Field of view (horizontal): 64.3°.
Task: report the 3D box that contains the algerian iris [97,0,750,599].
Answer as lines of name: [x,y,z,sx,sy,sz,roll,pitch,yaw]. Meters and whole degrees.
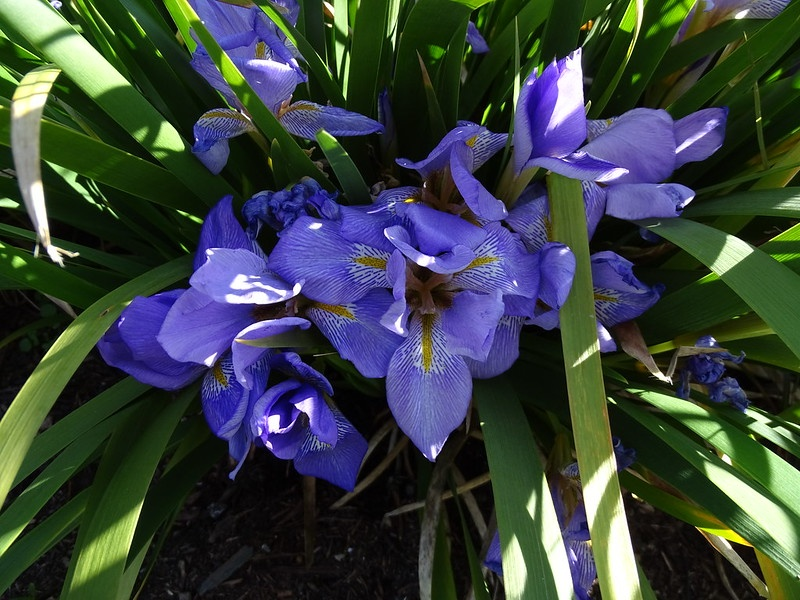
algerian iris: [0.095,-0.028,1.287,1.282,0.601,0.969,18,71,7]
